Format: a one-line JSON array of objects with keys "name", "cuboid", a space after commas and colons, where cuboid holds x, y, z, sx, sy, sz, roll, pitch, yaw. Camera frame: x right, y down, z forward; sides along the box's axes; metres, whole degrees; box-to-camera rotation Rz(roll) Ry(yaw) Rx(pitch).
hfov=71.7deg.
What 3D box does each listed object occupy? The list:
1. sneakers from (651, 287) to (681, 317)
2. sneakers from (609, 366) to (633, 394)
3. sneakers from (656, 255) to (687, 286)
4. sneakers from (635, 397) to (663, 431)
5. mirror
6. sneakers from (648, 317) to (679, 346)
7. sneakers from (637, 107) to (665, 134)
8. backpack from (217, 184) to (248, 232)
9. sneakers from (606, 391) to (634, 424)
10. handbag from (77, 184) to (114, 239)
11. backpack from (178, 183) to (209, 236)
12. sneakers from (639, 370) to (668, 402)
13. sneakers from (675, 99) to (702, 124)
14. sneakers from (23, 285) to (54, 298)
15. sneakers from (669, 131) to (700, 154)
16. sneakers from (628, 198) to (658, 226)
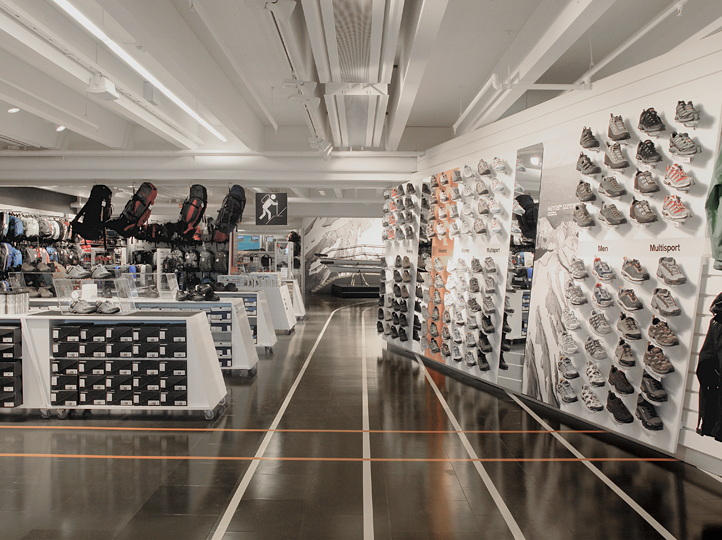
[{"name": "sneakers", "cuboid": [3.102, 0.325, 5.081, 0.116, 0.160, 0.346, -6, 25, 1]}, {"name": "sneakers", "cuboid": [2.819, 1.208, 5.418, 0.113, 0.148, 0.307, -2, 13, -7]}, {"name": "sneakers", "cuboid": [3.143, 0.011, 5.067, 0.112, 0.267, 0.265, -3, 8, -27]}, {"name": "sneakers", "cuboid": [2.954, 1.492, 5.164, 0.133, 0.303, 0.290, -3, 8, -23]}, {"name": "mirror", "cuboid": [2.180, -0.018, 6.870, 0.275, 3.329, 0.482, -4, 8, -33]}, {"name": "sneakers", "cuboid": [3.063, 0.626, 5.101, 0.131, 0.159, 0.325, -12, 18, -6]}, {"name": "sneakers", "cuboid": [3.033, -1.551, 5.224, 0.123, 0.172, 0.338, -11, 21, 3]}, {"name": "backpack", "cuboid": [-2.392, -1.115, 9.167, 0.459, 0.893, 0.621, -1, 7, -8]}, {"name": "sneakers", "cuboid": [2.789, 1.505, 5.435, 0.126, 0.293, 0.330, -4, 9, -31]}, {"name": "handbag", "cuboid": [-4.623, -1.048, 8.703, 0.537, 0.949, 0.333, 16, 4, -30]}, {"name": "backpack", "cuboid": [-2.885, -1.034, 8.800, 0.440, 0.931, 0.310, 10, 2, 27]}, {"name": "sneakers", "cuboid": [2.984, 1.211, 5.107, 0.120, 0.134, 0.296, 8, 13, -14]}, {"name": "sneakers", "cuboid": [3.210, -1.546, 4.920, 0.103, 0.236, 0.186, 12, -13, -38]}, {"name": "sneakers", "cuboid": [-4.615, 0.329, 7.171, 0.450, 0.193, 0.289, -5, -3, 23]}, {"name": "sneakers", "cuboid": [3.214, -1.245, 4.970, 0.121, 0.141, 0.304, -10, 18, -4]}, {"name": "sneakers", "cuboid": [3.005, -0.616, 5.326, 0.265, 0.260, 0.149, 7, 9, 40]}]
